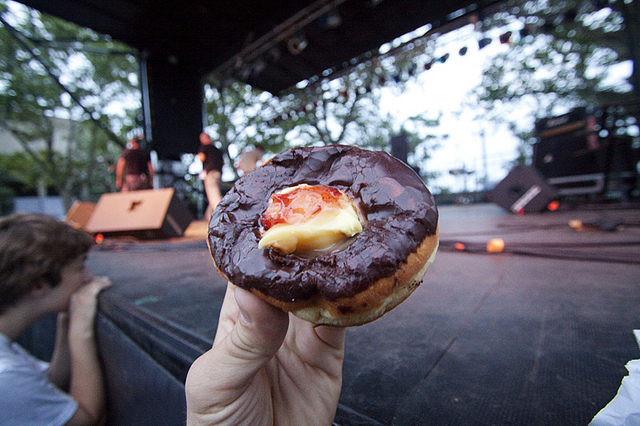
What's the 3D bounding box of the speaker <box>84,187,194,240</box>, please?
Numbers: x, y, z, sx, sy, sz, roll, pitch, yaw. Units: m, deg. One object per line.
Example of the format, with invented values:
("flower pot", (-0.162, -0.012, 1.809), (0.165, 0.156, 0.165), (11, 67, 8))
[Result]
("speaker", (-2.337, 0.028, 5.438), (1.041, 0.590, 0.942), (-4, 6, 5))
